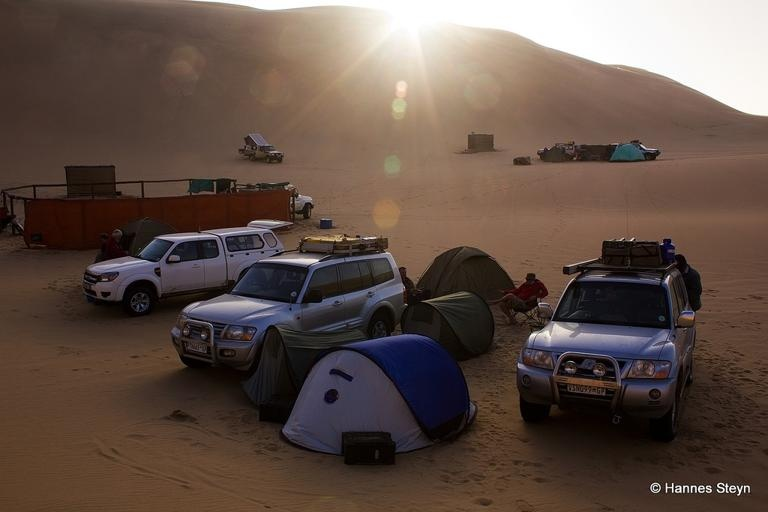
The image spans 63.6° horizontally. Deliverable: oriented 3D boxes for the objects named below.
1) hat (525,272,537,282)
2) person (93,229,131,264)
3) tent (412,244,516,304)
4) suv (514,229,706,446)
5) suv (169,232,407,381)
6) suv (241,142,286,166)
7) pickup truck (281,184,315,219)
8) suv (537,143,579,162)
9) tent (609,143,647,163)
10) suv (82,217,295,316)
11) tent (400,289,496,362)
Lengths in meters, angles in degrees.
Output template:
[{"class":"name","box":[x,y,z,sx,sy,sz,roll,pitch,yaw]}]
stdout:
[{"class":"hat","box":[4.031,0.587,17.075,0.307,0.152,0.431,-1,0,9]},{"class":"person","box":[-9.025,-0.313,20.702,0.547,0.567,1.272,-12,-15,-32]},{"class":"tent","box":[2.518,0.238,18.431,2.799,1.142,2.514,-13,20,-28]},{"class":"suv","box":[4.210,1.430,11.687,2.558,2.708,4.680,-1,1,30]},{"class":"suv","box":[-2.048,0.895,14.508,4.856,2.471,2.804,0,1,-42]},{"class":"suv","box":[-11.116,-9.444,57.329,3.225,1.143,2.427,9,18,20]},{"class":"pickup truck","box":[-4.828,-2.826,34.198,1.264,1.132,2.434,8,17,25]},{"class":"suv","box":[14.713,-8.749,52.912,2.612,0.901,1.822,4,22,18]},{"class":"tent","box":[19.821,-8.391,50.552,2.630,1.306,2.598,4,15,12]},{"class":"suv","box":[-5.717,0.080,19.062,6.312,2.337,2.579,-4,6,-37]},{"class":"tent","box":[1.453,1.641,14.979,1.697,1.133,1.747,5,10,39]}]
